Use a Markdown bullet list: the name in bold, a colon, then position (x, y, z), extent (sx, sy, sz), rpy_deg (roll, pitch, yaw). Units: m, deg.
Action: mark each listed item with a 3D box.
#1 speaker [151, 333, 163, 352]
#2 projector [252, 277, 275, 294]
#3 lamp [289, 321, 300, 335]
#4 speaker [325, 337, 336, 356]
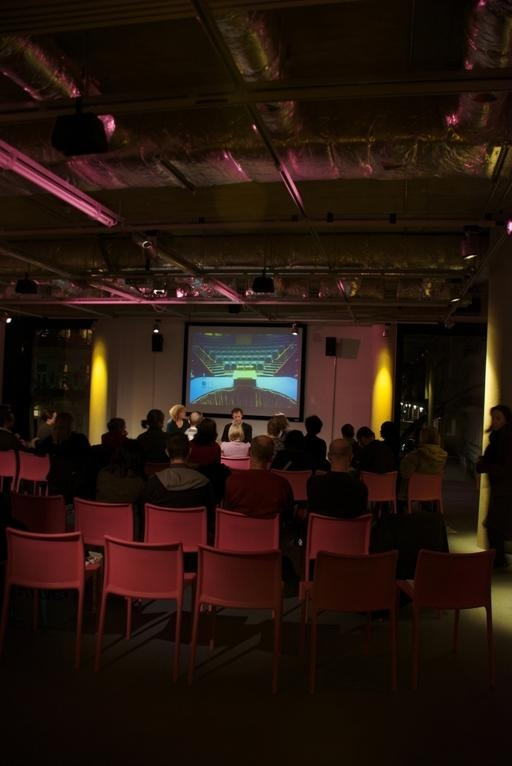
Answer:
- **speaker**: position (-2.202, -0.920, 12.656), extent (0.293, 0.408, 0.475), rpy_deg (4, -4, -11)
- **projector**: position (0.085, -1.176, 6.689), extent (0.247, 0.225, 0.249), rpy_deg (0, -3, 13)
- **lamp**: position (0.825, -1.153, 12.029), extent (0.058, 0.222, 0.235), rpy_deg (-1, -1, -45)
- **speaker**: position (1.584, -0.754, 11.835), extent (0.245, 0.390, 0.416), rpy_deg (2, -4, 9)
